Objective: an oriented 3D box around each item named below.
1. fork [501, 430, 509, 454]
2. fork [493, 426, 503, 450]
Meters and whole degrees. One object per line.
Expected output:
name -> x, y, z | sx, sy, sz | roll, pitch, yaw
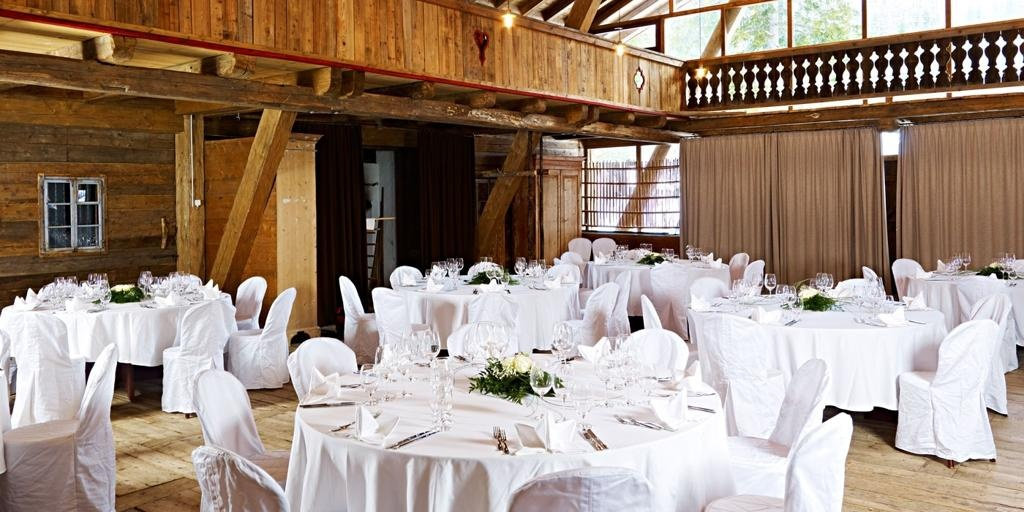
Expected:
fork -> -0.063, 1.812, 6.720 | 0.032, 0.194, 0.058 | -24, -39, 36
fork -> -0.131, 1.785, 6.773 | 0.054, 0.212, 0.030 | -3, -38, 5
